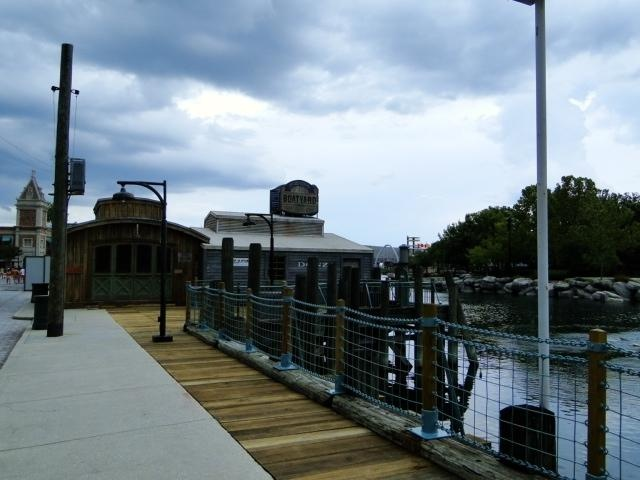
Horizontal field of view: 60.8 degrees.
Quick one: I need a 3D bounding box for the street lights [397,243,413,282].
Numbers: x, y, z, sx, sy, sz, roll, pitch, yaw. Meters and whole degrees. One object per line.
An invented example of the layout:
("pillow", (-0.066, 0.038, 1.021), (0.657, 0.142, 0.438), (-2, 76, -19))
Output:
("street lights", (3.489, 1.059, 23.029), (0.832, 1.678, 0.781), (-2, 7, -9))
